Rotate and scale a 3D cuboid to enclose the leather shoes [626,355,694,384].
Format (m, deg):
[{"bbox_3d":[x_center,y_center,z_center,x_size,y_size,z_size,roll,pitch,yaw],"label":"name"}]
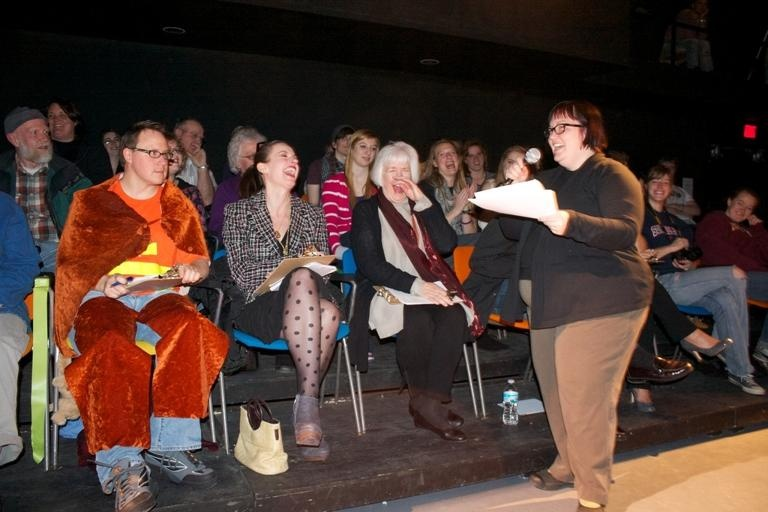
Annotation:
[{"bbox_3d":[2.028,0.847,4.088,0.424,0.150,0.217,-15,-3,21],"label":"leather shoes"}]

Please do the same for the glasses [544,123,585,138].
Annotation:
[{"bbox_3d":[1.048,-0.745,3.292,0.125,0.091,0.245,-7,14,-37],"label":"glasses"}]

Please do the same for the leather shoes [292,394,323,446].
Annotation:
[{"bbox_3d":[-0.460,1.003,3.373,0.172,0.317,0.214,-1,13,-10],"label":"leather shoes"}]

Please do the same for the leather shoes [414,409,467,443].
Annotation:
[{"bbox_3d":[0.355,1.122,3.736,0.406,0.131,0.147,7,-2,23],"label":"leather shoes"}]

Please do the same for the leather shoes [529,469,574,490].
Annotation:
[{"bbox_3d":[1.053,1.397,3.478,0.260,0.107,0.085,4,12,10],"label":"leather shoes"}]

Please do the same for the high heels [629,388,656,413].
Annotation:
[{"bbox_3d":[1.962,1.095,4.211,0.106,0.125,0.295,2,-4,-14],"label":"high heels"}]

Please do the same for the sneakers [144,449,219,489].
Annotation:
[{"bbox_3d":[-1.141,1.197,3.228,0.466,0.164,0.159,7,0,16],"label":"sneakers"}]

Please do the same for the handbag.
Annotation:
[{"bbox_3d":[-0.740,1.111,3.358,0.226,0.332,0.396,-6,10,-39],"label":"handbag"}]

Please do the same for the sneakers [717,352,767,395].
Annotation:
[{"bbox_3d":[3.082,1.017,4.852,0.202,0.213,0.569,-18,5,-4],"label":"sneakers"}]

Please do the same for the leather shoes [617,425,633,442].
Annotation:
[{"bbox_3d":[1.720,1.237,3.968,0.088,0.098,0.269,-1,2,19],"label":"leather shoes"}]
